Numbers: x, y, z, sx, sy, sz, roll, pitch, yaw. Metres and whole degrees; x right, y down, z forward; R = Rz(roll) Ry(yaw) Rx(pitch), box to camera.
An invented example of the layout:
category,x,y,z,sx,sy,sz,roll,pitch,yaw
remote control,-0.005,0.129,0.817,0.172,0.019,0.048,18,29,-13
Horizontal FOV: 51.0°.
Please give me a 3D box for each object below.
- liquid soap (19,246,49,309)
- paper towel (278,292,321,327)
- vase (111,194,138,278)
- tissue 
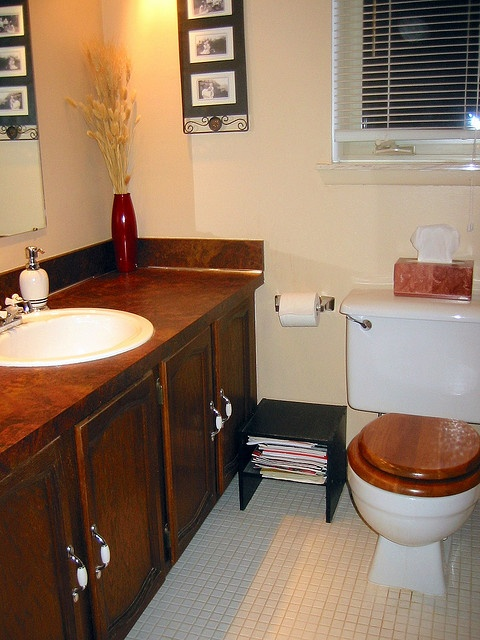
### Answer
category,x,y,z,sx,sy,sz,roll,pitch,yaw
liquid soap,-0.561,-0.114,1.365,0.071,0.166,0.106,-6,11,-24
paper towel,0.195,-0.036,1.743,0.117,0.113,0.118,0,13,16
vase,-0.453,-0.336,1.973,0.099,0.302,0.153,-3,10,-12
tissue ,0.640,-0.194,1.668,0.239,0.234,0.181,3,11,22
